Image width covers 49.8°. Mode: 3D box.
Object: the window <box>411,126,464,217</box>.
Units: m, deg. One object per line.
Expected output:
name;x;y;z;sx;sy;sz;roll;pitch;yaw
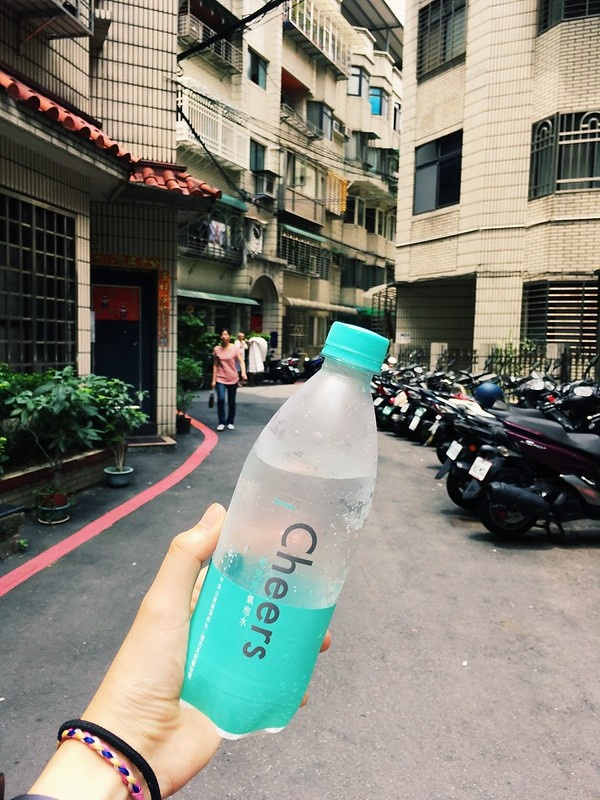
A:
window;4.001;-6.435;18.694;0.117;1.817;2.401;-1;7;-22

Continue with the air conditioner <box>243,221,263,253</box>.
air conditioner;-1.906;-6.851;27.159;0.392;1.136;1.127;7;43;30

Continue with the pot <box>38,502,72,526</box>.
pot;-2.096;0.971;5.519;0.265;0.142;0.263;2;5;0

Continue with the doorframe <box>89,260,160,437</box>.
doorframe;-2.624;-0.735;9.382;1.078;2.576;0.234;0;-20;-16

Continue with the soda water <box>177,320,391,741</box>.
soda water;-0.011;0.216;1.213;0.290;0.727;0.367;3;5;14
